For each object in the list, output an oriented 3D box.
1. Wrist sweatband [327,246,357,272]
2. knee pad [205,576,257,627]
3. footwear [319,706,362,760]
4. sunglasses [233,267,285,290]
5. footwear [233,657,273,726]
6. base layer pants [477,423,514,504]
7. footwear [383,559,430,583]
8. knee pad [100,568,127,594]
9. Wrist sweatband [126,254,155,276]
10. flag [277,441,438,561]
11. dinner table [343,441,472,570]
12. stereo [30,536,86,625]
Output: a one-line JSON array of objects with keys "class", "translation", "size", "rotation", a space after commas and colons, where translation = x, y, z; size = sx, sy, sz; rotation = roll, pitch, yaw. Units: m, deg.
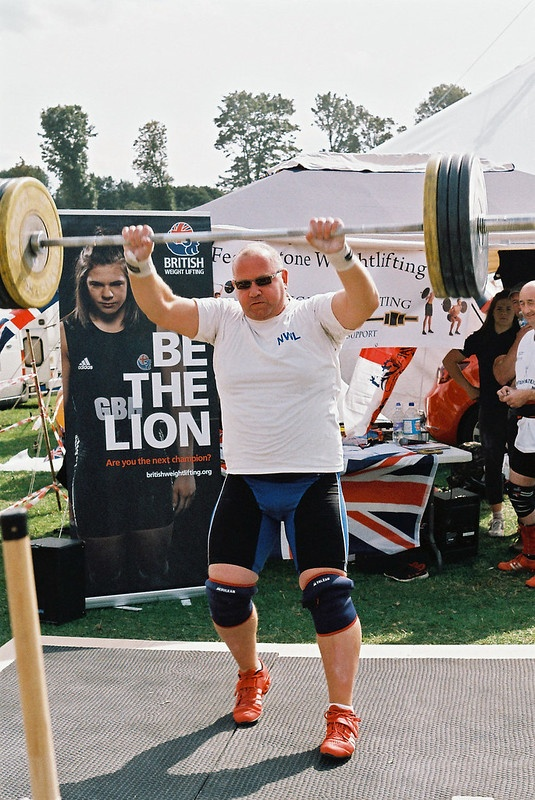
[{"class": "Wrist sweatband", "translation": [0.245, -0.463, 2.330], "size": [0.092, 0.103, 0.128], "rotation": [-1, 1, 6]}, {"class": "knee pad", "translation": [-0.139, 0.709, 2.565], "size": [0.192, 0.154, 0.169], "rotation": [6, 18, 11]}, {"class": "footwear", "translation": [0.242, 1.100, 2.402], "size": [0.106, 0.174, 0.193], "rotation": [-1, 1, 18]}, {"class": "sunglasses", "translation": [-0.025, -0.417, 2.462], "size": [0.175, 0.084, 0.118], "rotation": [-1, 0, -3]}, {"class": "footwear", "translation": [-0.055, 1.111, 2.686], "size": [0.081, 0.099, 0.222], "rotation": [-4, 5, 8]}, {"class": "base layer pants", "translation": [1.793, 0.517, 5.690], "size": [0.206, 0.555, 0.397], "rotation": [2, -1, -4]}, {"class": "footwear", "translation": [0.934, 1.148, 4.734], "size": [0.271, 0.111, 0.118], "rotation": [2, -7, -2]}, {"class": "knee pad", "translation": [-0.917, 1.094, 4.269], "size": [0.161, 0.143, 0.038], "rotation": [0, 10, -15]}, {"class": "Wrist sweatband", "translation": [-0.451, -0.470, 2.528], "size": [0.081, 0.082, 0.083], "rotation": [-1, 0, -5]}, {"class": "flag", "translation": [0.837, 0.685, 5.132], "size": [0.968, 0.546, 0.739], "rotation": [-1, 6, 0]}, {"class": "dinner table", "translation": [0.913, 0.681, 4.781], "size": [0.897, 0.645, 0.731], "rotation": [-2, 5, -6]}, {"class": "stereo", "translation": [-1.184, 1.035, 4.065], "size": [0.250, 0.415, 0.288], "rotation": [-1, 1, 10]}]
